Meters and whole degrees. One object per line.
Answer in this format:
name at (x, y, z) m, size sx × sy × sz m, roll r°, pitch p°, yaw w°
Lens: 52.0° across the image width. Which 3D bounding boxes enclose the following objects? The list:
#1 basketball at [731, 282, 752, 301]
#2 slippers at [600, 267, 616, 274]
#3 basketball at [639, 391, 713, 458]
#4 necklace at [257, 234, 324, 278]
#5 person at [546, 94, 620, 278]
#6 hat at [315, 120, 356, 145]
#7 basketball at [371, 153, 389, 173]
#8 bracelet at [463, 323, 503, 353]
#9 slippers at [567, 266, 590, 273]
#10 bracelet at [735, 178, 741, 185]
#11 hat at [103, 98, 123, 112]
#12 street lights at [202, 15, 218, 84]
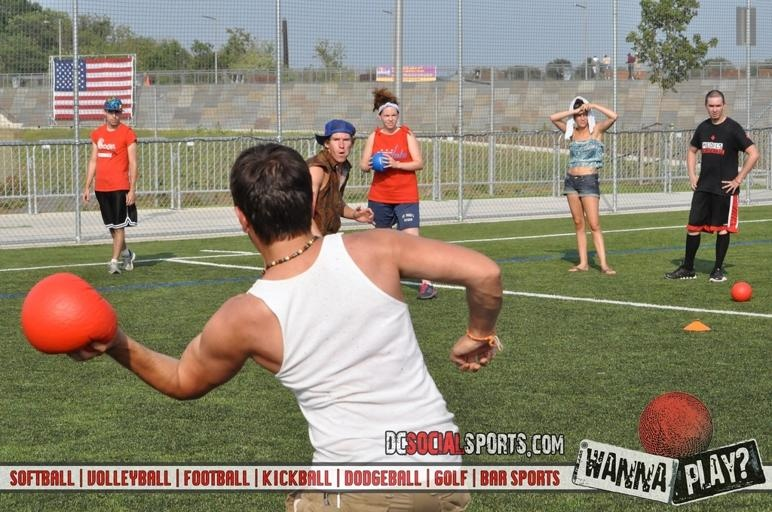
basketball at (4.316, 0.428, 9.594) m, size 0.235 × 0.216 × 0.256 m, roll 5°, pitch 15°, yaw 23°
slippers at (3.167, 0.204, 11.268) m, size 0.089 × 0.066 × 0.154 m, roll -5°, pitch 0°, yaw -30°
basketball at (1.984, 1.169, 5.423) m, size 0.412 × 0.449 × 0.239 m, roll -1°, pitch -5°, yaw 8°
necklace at (-0.506, 0.009, 4.103) m, size 0.164 × 0.279 × 0.292 m, roll 0°, pitch -4°, yaw 4°
person at (2.953, -1.061, 11.758) m, size 0.884 × 2.576 × 1.606 m, roll 2°, pitch 14°, yaw 12°
hat at (-0.511, -1.230, 7.846) m, size 0.357 × 0.250 × 0.435 m, roll -3°, pitch 15°, yaw -7°
basketball at (-0.070, -1.147, 9.725) m, size 0.192 × 0.240 × 0.204 m, roll 4°, pitch 8°, yaw 6°
bracelet at (0.540, 0.470, 4.441) m, size 0.142 × 0.069 × 0.186 m, roll 22°, pitch 4°, yaw -42°
slippers at (2.795, 0.161, 11.487) m, size 0.307 × 0.130 × 0.116 m, roll 2°, pitch 4°, yaw 19°
bracelet at (4.772, -1.019, 10.720) m, size 0.043 × 0.078 × 0.073 m, roll 7°, pitch 16°, yaw 28°
hat at (-4.038, -2.259, 11.733) m, size 0.213 × 0.197 × 0.404 m, roll -4°, pitch 15°, yaw -12°
street lights at (-3.312, -4.010, 15.211) m, size 0.301 × 1.229 × 0.524 m, roll -2°, pitch 13°, yaw -2°
